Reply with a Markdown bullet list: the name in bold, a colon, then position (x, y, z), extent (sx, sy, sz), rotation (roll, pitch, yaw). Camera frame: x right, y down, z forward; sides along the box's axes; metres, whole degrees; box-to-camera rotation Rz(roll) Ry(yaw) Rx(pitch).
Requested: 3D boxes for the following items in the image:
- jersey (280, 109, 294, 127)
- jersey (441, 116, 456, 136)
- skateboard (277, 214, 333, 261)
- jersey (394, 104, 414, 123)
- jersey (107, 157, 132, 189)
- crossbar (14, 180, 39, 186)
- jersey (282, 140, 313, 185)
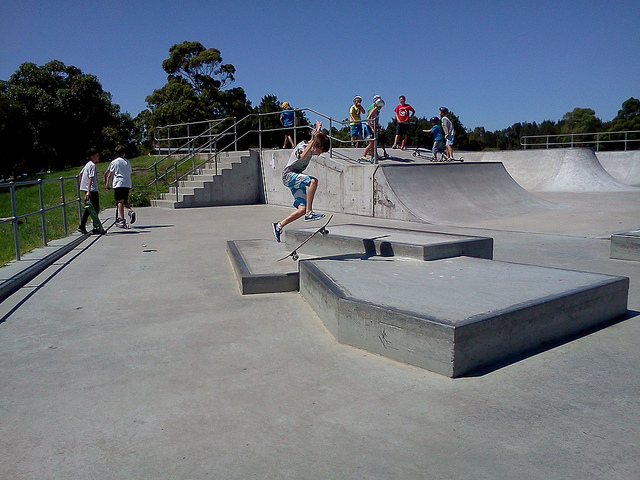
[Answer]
- **jersey**: position (-1.236, -4.626, 16.058), extent (0.412, 0.663, 1.080), rotation (-2, 11, -6)
- **jersey**: position (4.372, -3.938, 14.492), extent (0.202, 0.591, 0.497), rotation (-15, 23, 24)
- **skateboard**: position (-0.252, -0.026, 6.737), extent (0.976, 0.151, 0.232), rotation (-46, -12, -6)
- **jersey**: position (2.915, -4.449, 14.804), extent (0.577, 0.580, 0.566), rotation (-3, 11, -10)
- **jersey**: position (-4.695, -1.600, 10.071), extent (0.540, 0.739, 0.347), rotation (5, -28, -8)
- **crossbar**: position (-4.584, -0.901, 6.677), extent (0.198, 0.068, 1.295), rotation (-8, 13, -28)
- **jersey**: position (-0.323, -1.113, 6.001), extent (0.412, 0.586, 0.332), rotation (-2, 11, -3)
